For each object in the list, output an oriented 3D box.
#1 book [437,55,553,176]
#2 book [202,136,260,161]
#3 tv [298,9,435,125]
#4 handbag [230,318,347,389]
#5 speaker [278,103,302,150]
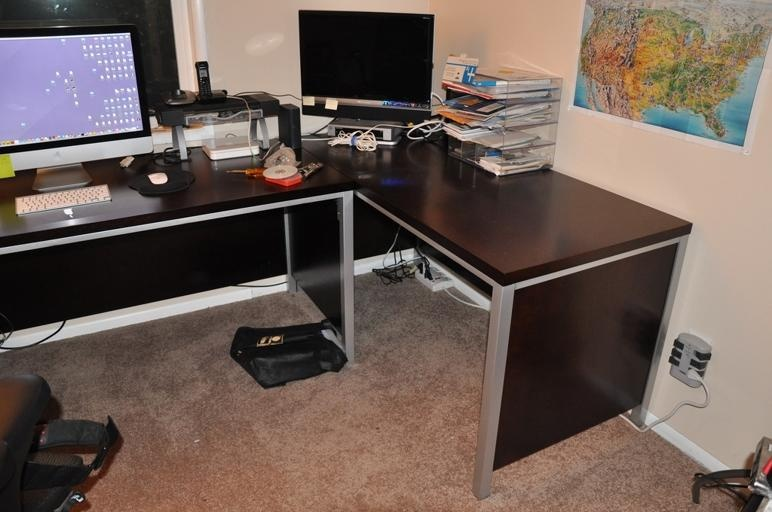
[{"bbox_3d":[0.556,-0.688,2.899,0.586,0.637,0.589,-13,29,-24],"label":"book"},{"bbox_3d":[-0.771,-0.536,2.791,0.181,0.041,0.176,-11,29,-25],"label":"book"},{"bbox_3d":[-0.101,-0.987,2.912,0.673,0.477,0.026,2,19,4],"label":"tv"},{"bbox_3d":[-0.514,0.498,2.918,0.449,0.132,0.338,-5,34,-16],"label":"handbag"},{"bbox_3d":[-0.493,-0.658,2.877,0.090,0.191,0.246,-11,14,-24],"label":"speaker"}]
